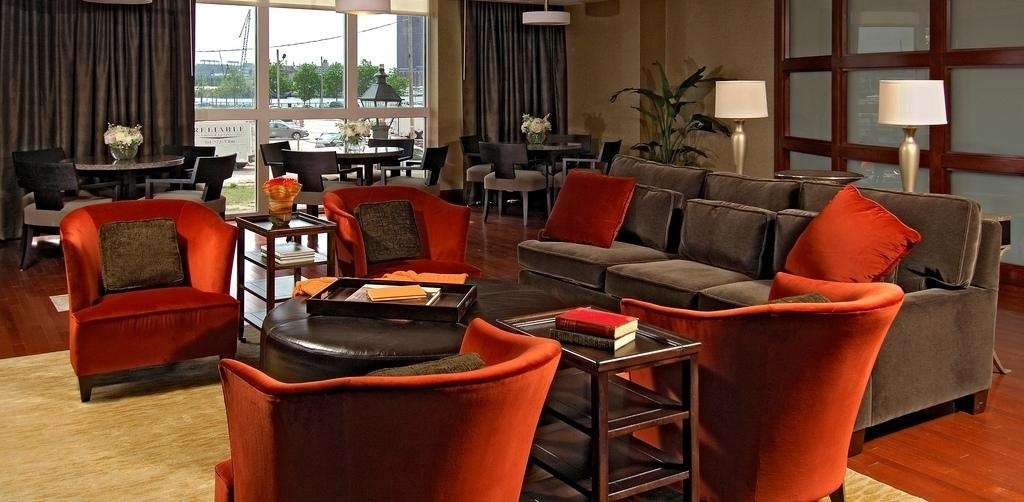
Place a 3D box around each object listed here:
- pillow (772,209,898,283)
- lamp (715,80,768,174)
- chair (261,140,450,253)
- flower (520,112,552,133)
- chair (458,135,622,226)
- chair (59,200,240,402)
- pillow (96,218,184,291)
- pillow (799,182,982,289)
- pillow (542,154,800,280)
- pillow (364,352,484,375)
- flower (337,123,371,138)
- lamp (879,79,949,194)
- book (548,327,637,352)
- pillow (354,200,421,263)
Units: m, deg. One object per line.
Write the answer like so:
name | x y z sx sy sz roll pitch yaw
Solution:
pillow | 2.528 -0.090 5.553 0.273 0.624 0.703 26 5 -45
lamp | 2.592 -1.297 7.552 0.788 1.200 0.674 2 15 12
chair | -2.196 -0.815 9.023 1.591 1.737 1.618 -8 13 -34
flower | 0.387 -2.068 10.565 0.607 0.225 0.514 1 2 -9
chair | 0.502 -1.167 10.331 1.617 1.191 1.924 7 13 32
chair | -3.073 0.352 6.007 2.116 1.508 1.753 -2 7 -30
pillow | -3.153 0.047 5.526 0.825 0.537 0.167 -6 -8 -5
pillow | 2.918 -0.174 5.094 1.314 0.675 0.407 7 14 -15
pillow | 1.502 -0.151 5.894 1.336 0.909 2.336 -12 12 -38
pillow | -0.416 0.615 3.500 0.423 0.074 0.215 -1 7 -12
flower | -2.161 -1.668 8.992 0.365 0.153 0.260 -1 4 -8
lamp | 3.604 -1.046 5.979 0.487 1.010 0.458 -11 17 -35
book | 0.478 0.546 4.003 0.240 0.038 0.234 9 10 41
pillow | -1.168 -0.179 6.173 0.693 0.537 0.233 -10 -13 -24
